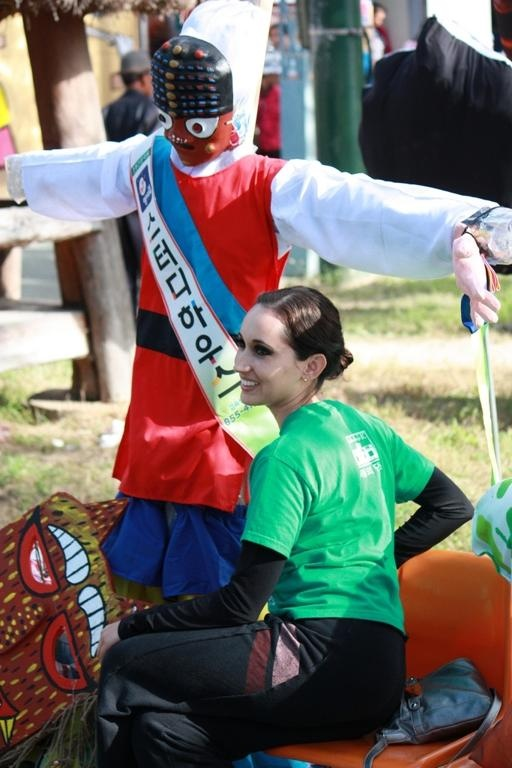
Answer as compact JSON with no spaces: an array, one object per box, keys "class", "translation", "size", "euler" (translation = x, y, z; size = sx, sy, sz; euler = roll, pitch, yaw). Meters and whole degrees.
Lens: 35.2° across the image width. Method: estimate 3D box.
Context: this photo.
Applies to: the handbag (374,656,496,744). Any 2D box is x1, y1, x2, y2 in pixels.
[{"class":"handbag","translation":[0.296,0.524,1.329],"size":[0.129,0.043,0.123],"euler":[-20,10,14]}]
